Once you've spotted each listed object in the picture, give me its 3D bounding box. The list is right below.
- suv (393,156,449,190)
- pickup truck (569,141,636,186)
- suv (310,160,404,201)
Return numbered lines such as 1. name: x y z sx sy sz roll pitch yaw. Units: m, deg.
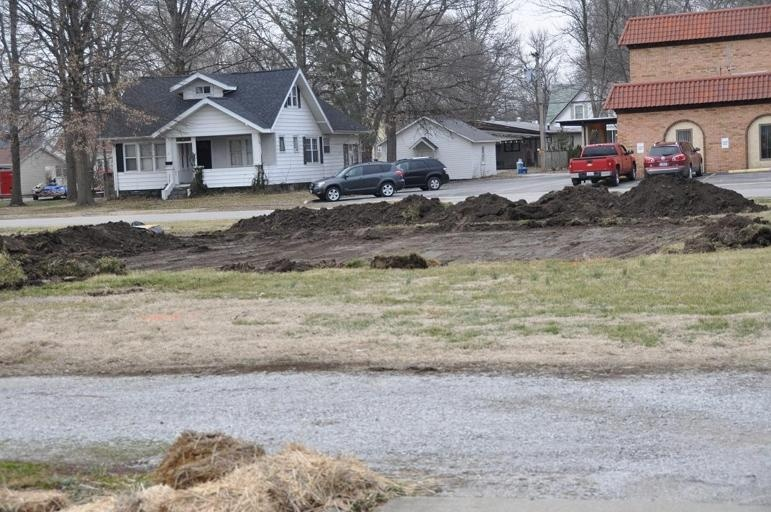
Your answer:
1. suv: 1.980 -4.774 85.077 3.119 1.286 1.443 1 2 -9
2. pickup truck: 11.838 -5.066 80.424 2.744 2.122 5.780 -1 7 22
3. suv: -1.465 -4.059 80.814 4.941 1.858 0.931 -8 15 -19
